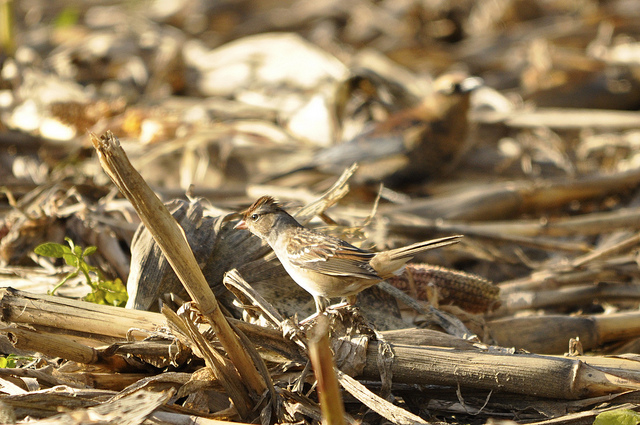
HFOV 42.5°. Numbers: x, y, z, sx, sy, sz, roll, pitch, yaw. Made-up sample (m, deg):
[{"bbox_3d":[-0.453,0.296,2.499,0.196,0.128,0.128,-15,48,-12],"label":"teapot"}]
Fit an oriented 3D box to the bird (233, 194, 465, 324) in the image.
[{"bbox_3d":[0.035,0.292,6.469,1.426,0.706,0.768,14,40,29],"label":"bird"}]
